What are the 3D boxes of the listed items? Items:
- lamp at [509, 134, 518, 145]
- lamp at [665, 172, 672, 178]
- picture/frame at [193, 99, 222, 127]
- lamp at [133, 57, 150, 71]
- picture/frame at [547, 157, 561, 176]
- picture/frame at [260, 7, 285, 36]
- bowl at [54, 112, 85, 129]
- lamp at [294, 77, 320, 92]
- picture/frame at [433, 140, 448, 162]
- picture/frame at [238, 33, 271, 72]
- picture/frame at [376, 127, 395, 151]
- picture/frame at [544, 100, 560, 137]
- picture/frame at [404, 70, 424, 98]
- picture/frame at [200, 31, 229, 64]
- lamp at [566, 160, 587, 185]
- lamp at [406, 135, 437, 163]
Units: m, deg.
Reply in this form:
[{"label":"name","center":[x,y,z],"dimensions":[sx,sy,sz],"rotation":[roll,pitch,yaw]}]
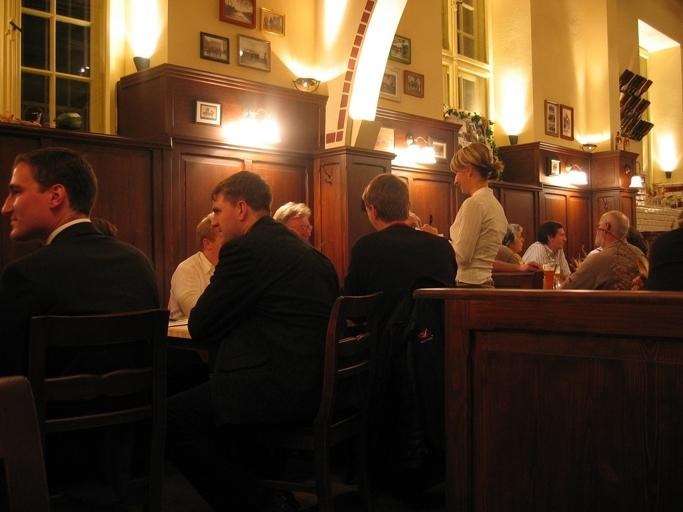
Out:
[{"label":"lamp","center":[3.137,-2.110,10.878],"dimensions":[0.148,0.174,0.155],"rotation":[7,11,37]},{"label":"lamp","center":[8.714,-2.149,15.909],"dimensions":[0.130,0.165,0.157],"rotation":[3,-3,-2]},{"label":"picture/frame","center":[-1.401,-1.470,6.157],"dimensions":[0.023,0.238,0.288],"rotation":[-5,-4,42]},{"label":"lamp","center":[-2.011,-1.927,6.014],"dimensions":[0.136,0.184,0.143],"rotation":[-6,9,-32]},{"label":"picture/frame","center":[3.878,-1.633,10.945],"dimensions":[0.049,0.328,0.344],"rotation":[-3,-4,38]},{"label":"picture/frame","center":[-0.798,-2.637,6.758],"dimensions":[0.025,0.279,0.361],"rotation":[-2,0,40]},{"label":"bowl","center":[-2.387,-1.174,5.216],"dimensions":[0.195,0.163,0.159],"rotation":[4,2,26]},{"label":"lamp","center":[-0.403,-1.974,6.918],"dimensions":[0.187,0.090,0.188],"rotation":[0,-3,-11]},{"label":"picture/frame","center":[1.407,-1.489,8.550],"dimensions":[0.038,0.229,0.293],"rotation":[-10,-18,40]},{"label":"picture/frame","center":[-0.980,-2.233,6.595],"dimensions":[0.426,0.392,0.034],"rotation":[2,-5,-44]},{"label":"picture/frame","center":[0.561,-1.516,7.742],"dimensions":[0.050,0.401,0.318],"rotation":[0,12,42]},{"label":"picture/frame","center":[3.903,-2.534,11.109],"dimensions":[0.047,0.761,0.654],"rotation":[-5,-6,41]},{"label":"picture/frame","center":[0.980,-2.357,8.197],"dimensions":[0.039,0.305,0.391],"rotation":[-3,-1,39]},{"label":"picture/frame","center":[-1.353,-2.180,6.269],"dimensions":[0.027,0.282,0.361],"rotation":[-2,-1,39]},{"label":"lamp","center":[4.560,-1.551,11.618],"dimensions":[0.292,0.562,0.524],"rotation":[0,-31,15]},{"label":"lamp","center":[1.074,-1.452,8.176],"dimensions":[0.350,0.341,0.143],"rotation":[5,-11,-36]}]
